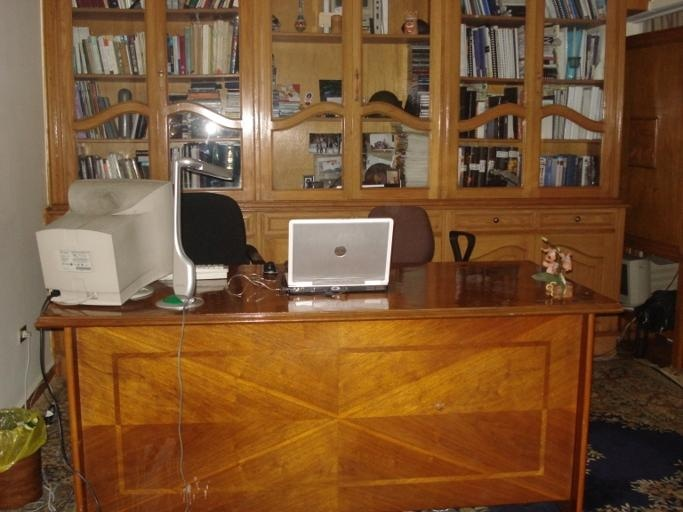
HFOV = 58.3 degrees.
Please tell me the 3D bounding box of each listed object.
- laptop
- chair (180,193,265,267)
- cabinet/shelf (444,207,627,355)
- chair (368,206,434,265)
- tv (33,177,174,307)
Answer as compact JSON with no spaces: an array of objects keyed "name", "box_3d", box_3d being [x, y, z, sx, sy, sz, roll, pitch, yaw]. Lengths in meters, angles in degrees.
[{"name":"laptop","box_3d":[-0.021,-0.008,2.944,0.564,0.330,0.355,0,18,-7]},{"name":"chair","box_3d":[-0.849,-0.208,4.121,0.562,0.700,0.533,-6,13,-17]},{"name":"cabinet/shelf","box_3d":[1.090,0.102,3.576,1.307,1.003,0.467,-1,8,-2]},{"name":"chair","box_3d":[0.450,-0.156,4.077,0.436,0.470,0.420,0,17,6]},{"name":"tv","box_3d":[-0.990,-0.094,2.870,0.640,0.563,0.619,2,7,16]}]
